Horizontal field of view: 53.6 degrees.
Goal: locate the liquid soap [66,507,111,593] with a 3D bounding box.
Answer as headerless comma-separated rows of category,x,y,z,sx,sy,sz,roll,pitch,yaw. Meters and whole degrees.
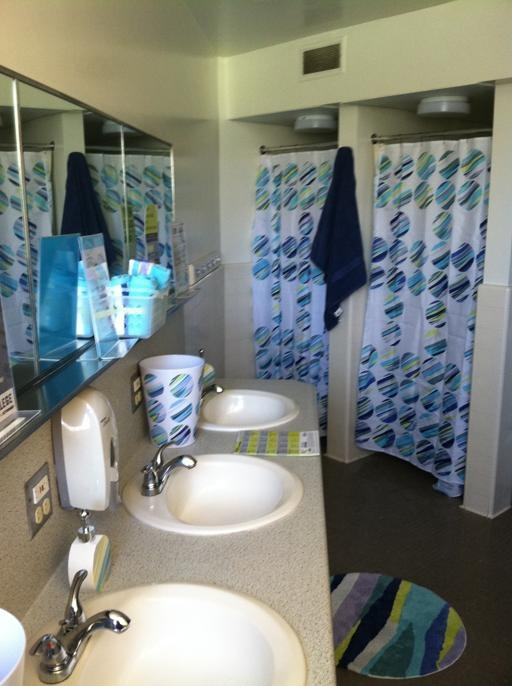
liquid soap,-0.282,0.354,0.860,0.046,0.133,0.094,-4,8,0

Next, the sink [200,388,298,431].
sink,-0.025,0.274,1.879,0.356,0.109,0.420,-3,11,-4

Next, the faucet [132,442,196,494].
faucet,-0.210,0.309,1.278,0.068,0.114,0.210,0,4,13

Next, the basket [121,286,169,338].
basket,-0.279,-0.077,1.250,0.074,0.060,0.116,-2,19,1

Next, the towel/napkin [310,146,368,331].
towel/napkin,0.466,-0.581,2.916,0.140,1.012,0.301,-12,15,-42

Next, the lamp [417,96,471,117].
lamp,0.908,-1.154,2.470,0.233,0.092,0.153,3,12,26

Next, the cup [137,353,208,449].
cup,-0.253,0.182,1.534,0.203,0.239,0.195,0,4,0

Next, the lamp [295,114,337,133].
lamp,0.346,-1.291,3.005,0.232,0.089,0.313,-4,11,-9

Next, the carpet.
carpet,0.485,1.022,1.887,0.511,0.004,0.541,7,12,41
